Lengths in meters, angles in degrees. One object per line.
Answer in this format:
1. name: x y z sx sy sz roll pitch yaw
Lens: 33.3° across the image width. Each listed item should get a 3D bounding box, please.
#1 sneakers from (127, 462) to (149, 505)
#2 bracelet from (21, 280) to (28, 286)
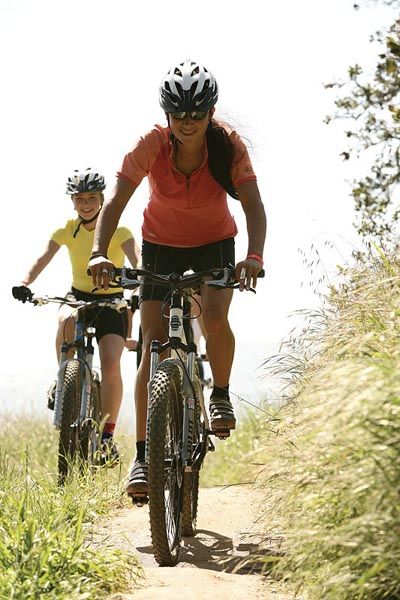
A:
1. sneakers: -0.316 0.949 3.457 0.113 0.225 0.183 7 -7 -2
2. bracelet: -1.417 -0.142 5.466 0.044 0.050 0.085 0 1 -3
